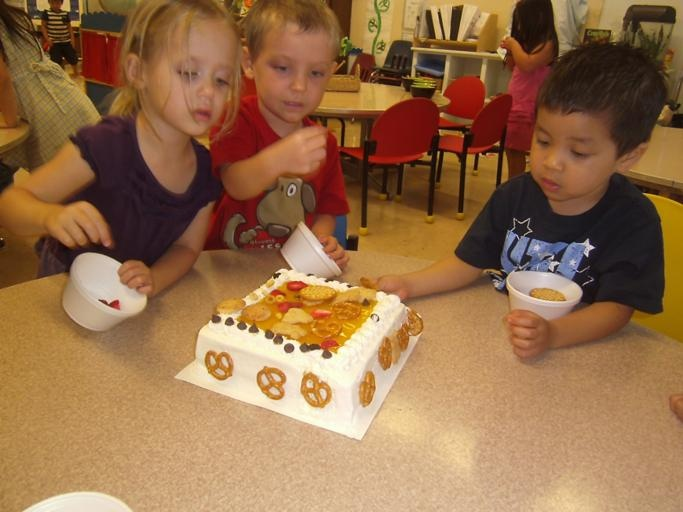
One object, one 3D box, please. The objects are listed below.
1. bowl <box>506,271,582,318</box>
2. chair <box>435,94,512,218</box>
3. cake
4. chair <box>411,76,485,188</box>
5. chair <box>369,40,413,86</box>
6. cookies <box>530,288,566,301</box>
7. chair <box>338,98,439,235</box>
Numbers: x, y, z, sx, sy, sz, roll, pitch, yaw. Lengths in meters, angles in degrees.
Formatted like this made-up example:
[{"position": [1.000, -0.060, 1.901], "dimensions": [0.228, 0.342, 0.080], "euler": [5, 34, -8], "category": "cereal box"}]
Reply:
[{"position": [0.532, 0.111, 1.403], "dimensions": [0.177, 0.085, 0.179], "euler": [19, -5, 2], "category": "bowl"}, {"position": [1.019, -0.857, 4.267], "dimensions": [0.656, 0.840, 0.645], "euler": [-5, 25, -12], "category": "chair"}, {"position": [-0.088, 0.183, 1.146], "dimensions": [0.308, 0.102, 0.318], "euler": [17, 34, 20], "category": "cake"}, {"position": [1.012, -1.121, 5.129], "dimensions": [0.483, 0.660, 0.434], "euler": [2, -9, -32], "category": "chair"}, {"position": [0.691, -2.425, 6.857], "dimensions": [0.385, 0.547, 0.494], "euler": [19, 27, 16], "category": "chair"}, {"position": [0.516, 0.096, 1.347], "dimensions": [0.050, 0.006, 0.041], "euler": [14, 23, 38], "category": "cookies"}, {"position": [0.349, -0.714, 3.974], "dimensions": [0.622, 0.901, 0.629], "euler": [-7, 26, -19], "category": "chair"}]
